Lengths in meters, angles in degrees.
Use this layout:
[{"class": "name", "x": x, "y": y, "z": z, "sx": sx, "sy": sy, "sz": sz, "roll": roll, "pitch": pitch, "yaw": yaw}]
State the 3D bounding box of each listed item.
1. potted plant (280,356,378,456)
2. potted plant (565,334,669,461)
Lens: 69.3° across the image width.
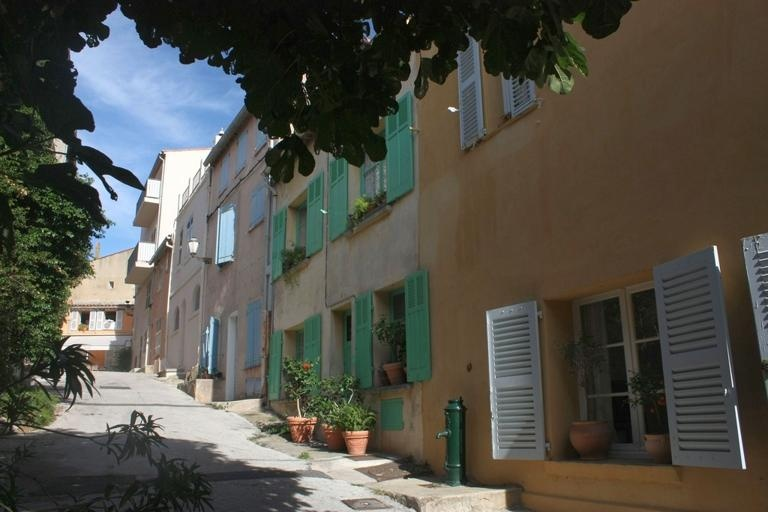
[{"class": "potted plant", "x": -0.906, "y": 2.963, "z": 10.992, "sx": 1.043, "sy": 2.356, "sz": 1.206, "roll": 10, "pitch": -16, "yaw": -25}, {"class": "potted plant", "x": 2.847, "y": 1.730, "z": 6.714, "sx": 1.214, "sy": 1.517, "sz": 0.618, "roll": -6, "pitch": -25, "yaw": 19}]
